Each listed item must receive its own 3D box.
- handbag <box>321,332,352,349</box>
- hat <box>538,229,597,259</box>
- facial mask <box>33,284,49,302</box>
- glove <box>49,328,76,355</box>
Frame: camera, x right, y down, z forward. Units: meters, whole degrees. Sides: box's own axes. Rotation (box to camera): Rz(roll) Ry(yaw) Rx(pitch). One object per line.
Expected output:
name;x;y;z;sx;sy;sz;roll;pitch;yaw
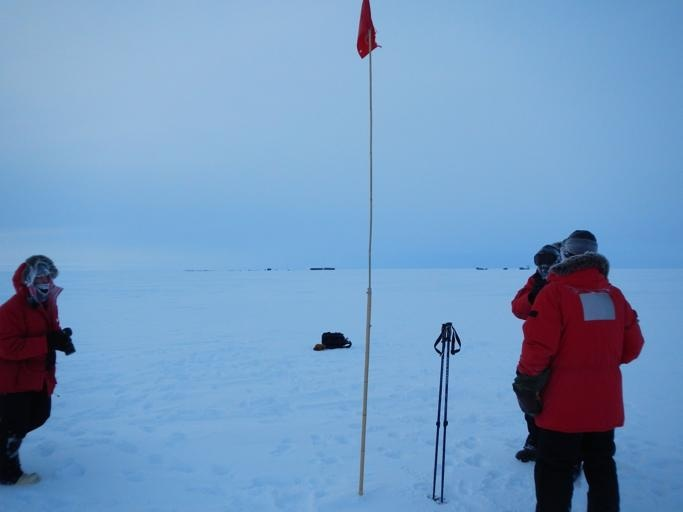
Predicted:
handbag;-0.119;1.994;17.386;0.482;0.275;0.368;-1;0;-14
hat;2.748;-0.103;8.607;0.367;0.310;0.281;-16;-9;35
facial mask;-4.028;0.486;9.822;0.161;0.186;0.201;3;-9;-25
glove;-3.746;1.158;9.951;0.277;0.185;0.397;38;26;3
